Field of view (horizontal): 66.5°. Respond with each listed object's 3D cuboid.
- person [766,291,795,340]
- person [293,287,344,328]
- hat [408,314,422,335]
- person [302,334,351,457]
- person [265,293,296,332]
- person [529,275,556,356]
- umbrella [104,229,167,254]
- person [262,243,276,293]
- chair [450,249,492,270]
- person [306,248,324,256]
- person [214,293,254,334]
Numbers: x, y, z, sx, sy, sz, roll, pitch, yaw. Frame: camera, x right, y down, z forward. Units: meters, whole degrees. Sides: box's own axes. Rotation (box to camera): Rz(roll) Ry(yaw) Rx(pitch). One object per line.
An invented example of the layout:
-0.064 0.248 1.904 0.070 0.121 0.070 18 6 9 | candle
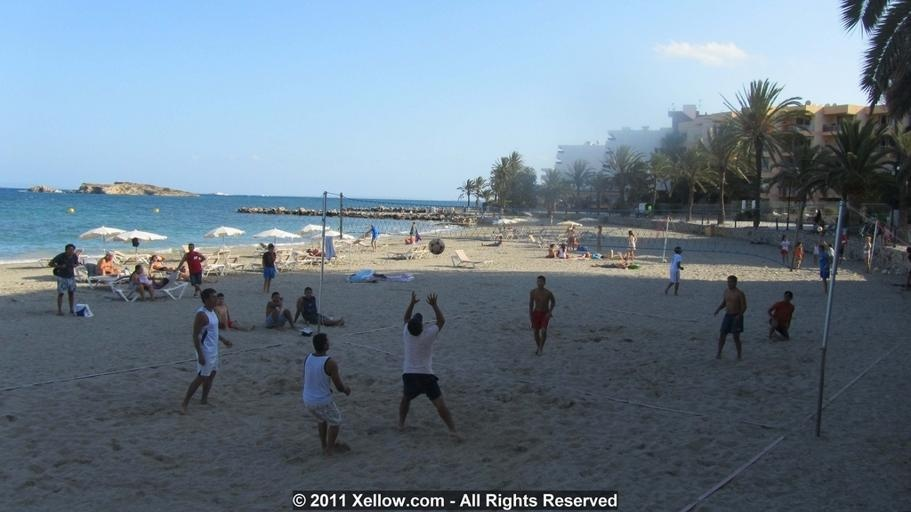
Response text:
9.136 1.649 19.547 0.674 1.334 0.421 -1 14 -5 | person
-3.952 1.534 20.587 1.669 0.903 0.930 14 19 30 | person
-0.859 1.468 15.216 0.322 0.450 0.252 -2 -26 12 | hat
-2.766 2.920 14.829 0.932 2.580 0.450 0 14 1 | person
-5.202 1.588 20.647 1.121 0.940 0.662 1 3 37 | person
2.332 1.552 18.833 0.591 2.045 0.828 2 14 8 | person
-16.484 -0.697 35.752 2.139 0.857 2.297 2 2 24 | umbrella
-6.760 0.435 25.145 0.465 1.590 1.057 -5 14 -17 | person
0.378 0.151 32.713 1.779 0.623 0.922 3 6 37 | chair
-6.338 -0.205 31.382 0.575 0.282 0.872 2 6 9 | person
-6.325 1.640 20.104 1.408 0.914 0.699 13 15 18 | person
